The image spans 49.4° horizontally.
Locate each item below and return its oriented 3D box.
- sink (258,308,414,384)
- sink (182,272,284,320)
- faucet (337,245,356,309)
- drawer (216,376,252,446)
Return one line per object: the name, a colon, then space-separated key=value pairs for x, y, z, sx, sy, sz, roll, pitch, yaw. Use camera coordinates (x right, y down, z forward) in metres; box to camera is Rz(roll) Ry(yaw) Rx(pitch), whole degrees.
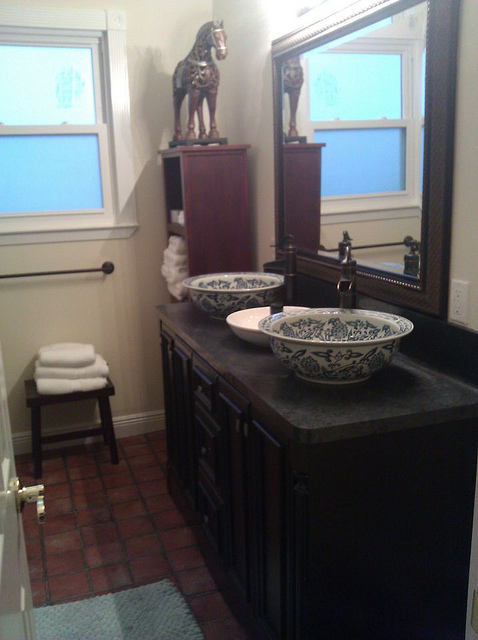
sink: x=0.242 y=0.073 z=1.200 sx=0.352 sy=0.136 sz=0.368 roll=-4 pitch=3 yaw=-7
sink: x=-0.012 y=-0.161 z=1.881 sx=0.329 sy=0.194 sz=0.363 roll=-10 pitch=21 yaw=-39
faucet: x=0.292 y=-0.102 z=1.408 sx=0.041 sy=0.127 sz=0.124 roll=0 pitch=14 yaw=14
drawer: x=-0.017 y=0.237 z=1.341 sx=0.065 sy=0.143 sz=0.131 roll=-2 pitch=16 yaw=-14
